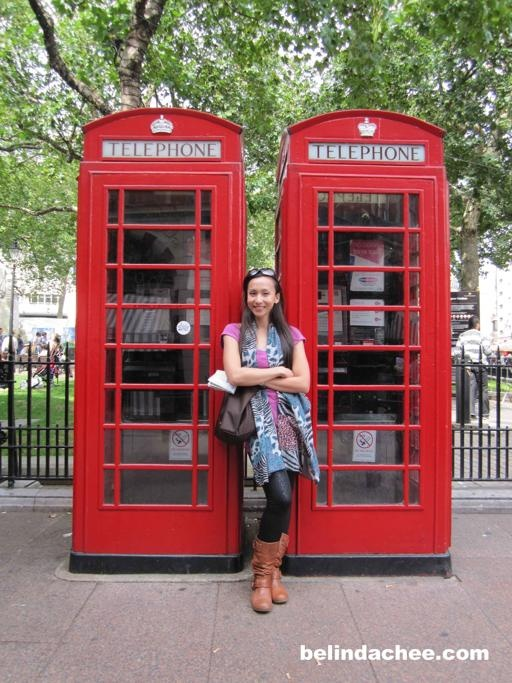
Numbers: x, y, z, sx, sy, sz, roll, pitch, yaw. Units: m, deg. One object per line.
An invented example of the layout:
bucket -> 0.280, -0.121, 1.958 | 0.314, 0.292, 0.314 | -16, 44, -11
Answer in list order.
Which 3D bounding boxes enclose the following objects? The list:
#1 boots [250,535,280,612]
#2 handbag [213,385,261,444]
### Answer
boots -> 0.049, 1.332, 3.775 | 0.152, 0.359, 0.215 | 1, 7, 2
handbag -> -0.109, 0.426, 3.748 | 0.237, 0.314, 0.155 | 1, 7, -2
